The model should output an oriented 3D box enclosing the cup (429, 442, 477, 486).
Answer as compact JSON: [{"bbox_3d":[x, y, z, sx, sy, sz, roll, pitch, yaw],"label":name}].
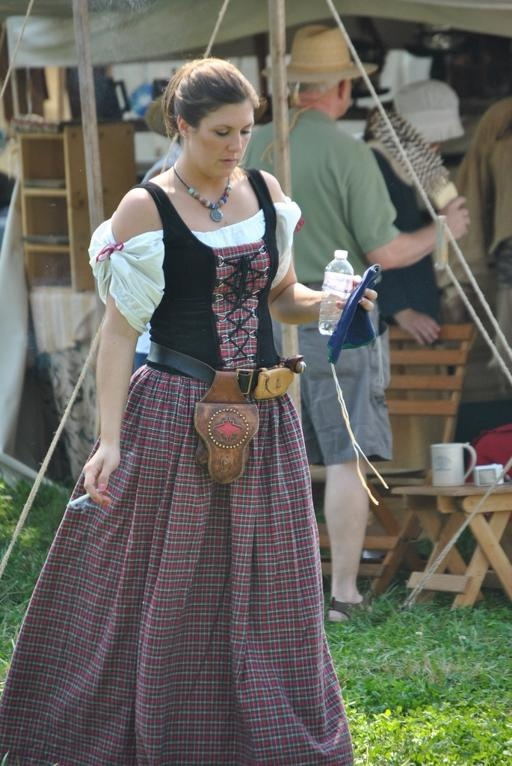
[{"bbox_3d":[0.765,0.317,3.876,0.222,0.177,0.132,0,-4,16],"label":"cup"}]

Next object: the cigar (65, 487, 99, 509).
[{"bbox_3d":[-0.408,0.273,2.339,0.062,0.017,0.043,-16,66,-52],"label":"cigar"}]

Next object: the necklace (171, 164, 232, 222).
[{"bbox_3d":[-0.121,-0.427,2.263,0.132,0.130,0.076,-1,5,-5],"label":"necklace"}]

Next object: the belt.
[{"bbox_3d":[-0.126,-0.029,2.291,0.191,0.050,0.129,19,-2,-12],"label":"belt"}]

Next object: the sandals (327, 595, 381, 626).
[{"bbox_3d":[0.368,0.863,3.733,0.193,0.063,0.060,-2,1,-24],"label":"sandals"}]

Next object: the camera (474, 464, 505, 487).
[{"bbox_3d":[0.874,0.347,3.722,0.153,0.089,0.076,0,2,-6],"label":"camera"}]

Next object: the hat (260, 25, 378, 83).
[{"bbox_3d":[0.258,-1.251,3.789,0.251,0.122,0.356,6,15,37],"label":"hat"}]

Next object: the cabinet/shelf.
[{"bbox_3d":[-0.743,-0.804,4.540,0.497,0.703,0.636,7,17,28],"label":"cabinet/shelf"}]
